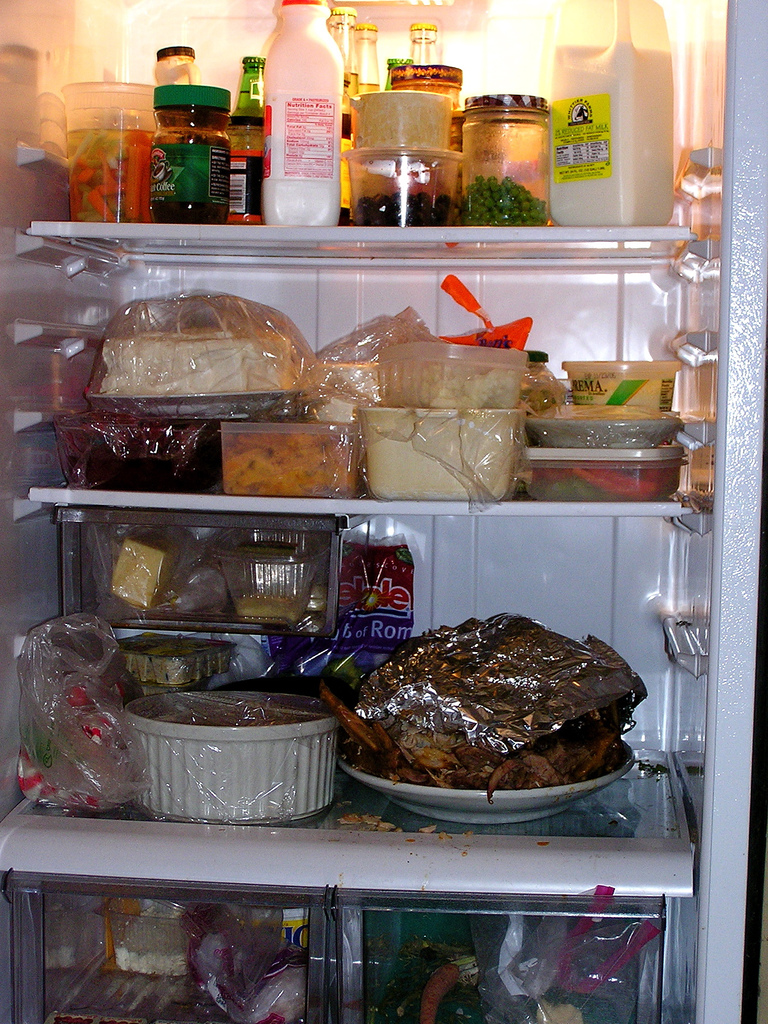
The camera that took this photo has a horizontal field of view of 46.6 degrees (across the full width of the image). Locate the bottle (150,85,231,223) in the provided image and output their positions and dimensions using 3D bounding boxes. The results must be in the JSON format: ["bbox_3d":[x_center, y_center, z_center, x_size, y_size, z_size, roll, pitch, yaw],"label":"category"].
[{"bbox_3d":[-0.211,-0.388,0.984,0.095,0.135,0.091,4,16,-1],"label":"bottle"}]

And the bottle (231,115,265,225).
[{"bbox_3d":[-0.157,-0.390,1.012,0.041,0.126,0.044,-2,8,0],"label":"bottle"}]

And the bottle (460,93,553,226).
[{"bbox_3d":[0.130,-0.387,0.984,0.094,0.123,0.090,0,21,0],"label":"bottle"}]

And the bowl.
[{"bbox_3d":[-0.188,0.281,1.039,0.242,0.106,0.234,2,-3,0],"label":"bowl"}]

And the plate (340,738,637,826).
[{"bbox_3d":[0.121,0.308,0.985,0.346,0.067,0.155,-2,8,-1],"label":"plate"}]

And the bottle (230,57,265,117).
[{"bbox_3d":[-0.159,-0.504,1.052,0.036,0.080,0.054,-3,8,-6],"label":"bottle"}]
